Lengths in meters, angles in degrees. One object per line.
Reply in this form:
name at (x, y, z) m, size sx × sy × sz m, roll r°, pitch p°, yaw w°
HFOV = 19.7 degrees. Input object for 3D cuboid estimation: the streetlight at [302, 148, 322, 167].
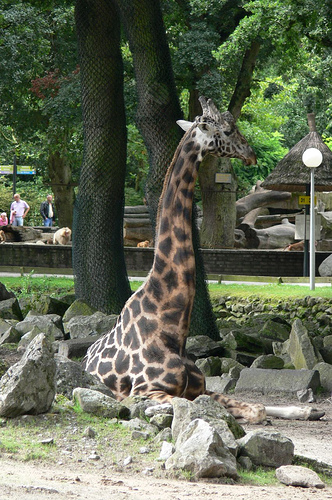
streetlight at (2.336, -1.470, 15.194) m, size 0.284 × 0.301 × 0.257 m, roll -1°, pitch 3°, yaw 7°
